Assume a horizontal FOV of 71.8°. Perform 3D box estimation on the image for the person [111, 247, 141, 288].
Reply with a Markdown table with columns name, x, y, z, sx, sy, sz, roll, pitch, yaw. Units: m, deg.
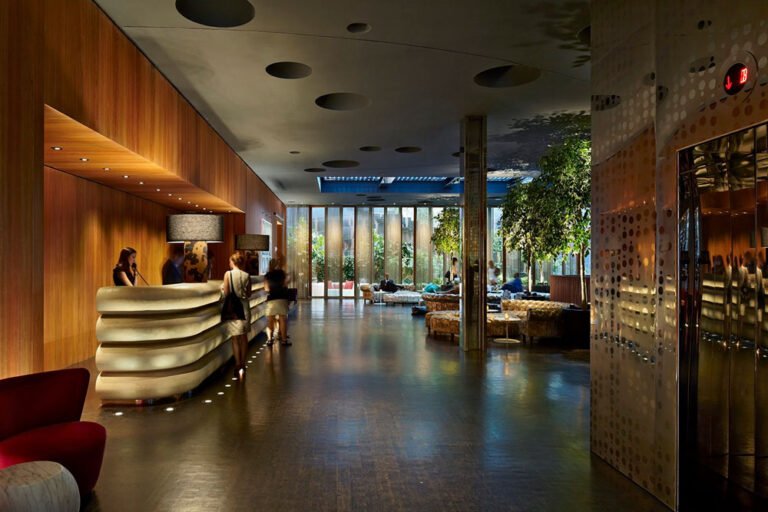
| name | x | y | z | sx | sy | sz | roll | pitch | yaw |
| --- | --- | --- | --- | --- | --- | --- | --- | --- | --- |
| person | -4.378 | 0.279 | 9.017 | 0.423 | 0.805 | 0.464 | 4 | 13 | -26 |

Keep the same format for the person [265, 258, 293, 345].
| name | x | y | z | sx | sy | sz | roll | pitch | yaw |
| --- | --- | --- | --- | --- | --- | --- | --- | --- | --- |
| person | -2.165 | 0.925 | 10.855 | 0.478 | 1.756 | 1.343 | -1 | 6 | -11 |

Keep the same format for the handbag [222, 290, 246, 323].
| name | x | y | z | sx | sy | sz | roll | pitch | yaw |
| --- | --- | --- | --- | --- | --- | --- | --- | --- | --- |
| handbag | -2.317 | 0.776 | 8.201 | 0.510 | 0.573 | 0.313 | 0 | 2 | -2 |

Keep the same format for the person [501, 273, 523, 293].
| name | x | y | z | sx | sy | sz | roll | pitch | yaw |
| --- | --- | --- | --- | --- | --- | --- | --- | --- | --- |
| person | 4.083 | 0.811 | 16.741 | 0.502 | 0.687 | 1.454 | 2 | 6 | 11 |

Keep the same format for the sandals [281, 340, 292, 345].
| name | x | y | z | sx | sy | sz | roll | pitch | yaw |
| --- | --- | --- | --- | --- | --- | --- | --- | --- | --- |
| sandals | -1.936 | 1.733 | 10.591 | 0.172 | 0.071 | 0.090 | -4 | -7 | 14 |

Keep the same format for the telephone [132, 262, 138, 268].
| name | x | y | z | sx | sy | sz | roll | pitch | yaw |
| --- | --- | --- | --- | --- | --- | --- | --- | --- | --- |
| telephone | -4.419 | 0.152 | 9.391 | 0.096 | 0.071 | 0.095 | -32 | 19 | -29 |

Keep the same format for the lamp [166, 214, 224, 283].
| name | x | y | z | sx | sy | sz | roll | pitch | yaw |
| --- | --- | --- | --- | --- | --- | --- | --- | --- | --- |
| lamp | -3.560 | -0.445 | 10.140 | 0.699 | 0.772 | 0.683 | 0 | -5 | 8 |

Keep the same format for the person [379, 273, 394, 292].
| name | x | y | z | sx | sy | sz | roll | pitch | yaw |
| --- | --- | --- | --- | --- | --- | --- | --- | --- | --- |
| person | 0.138 | 0.990 | 19.505 | 0.605 | 0.834 | 0.505 | 1 | -7 | -19 |

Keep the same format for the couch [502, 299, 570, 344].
| name | x | y | z | sx | sy | sz | roll | pitch | yaw |
| --- | --- | --- | --- | --- | --- | --- | --- | --- | --- |
| couch | 3.349 | 1.371 | 11.601 | 1.317 | 0.741 | 1.478 | 1 | 6 | 5 |

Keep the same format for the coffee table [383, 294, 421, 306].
| name | x | y | z | sx | sy | sz | roll | pitch | yaw |
| --- | --- | --- | --- | --- | --- | --- | --- | --- | --- |
| coffee table | 0.649 | 1.532 | 18.826 | 1.305 | 0.432 | 0.596 | 2 | 6 | 9 |
